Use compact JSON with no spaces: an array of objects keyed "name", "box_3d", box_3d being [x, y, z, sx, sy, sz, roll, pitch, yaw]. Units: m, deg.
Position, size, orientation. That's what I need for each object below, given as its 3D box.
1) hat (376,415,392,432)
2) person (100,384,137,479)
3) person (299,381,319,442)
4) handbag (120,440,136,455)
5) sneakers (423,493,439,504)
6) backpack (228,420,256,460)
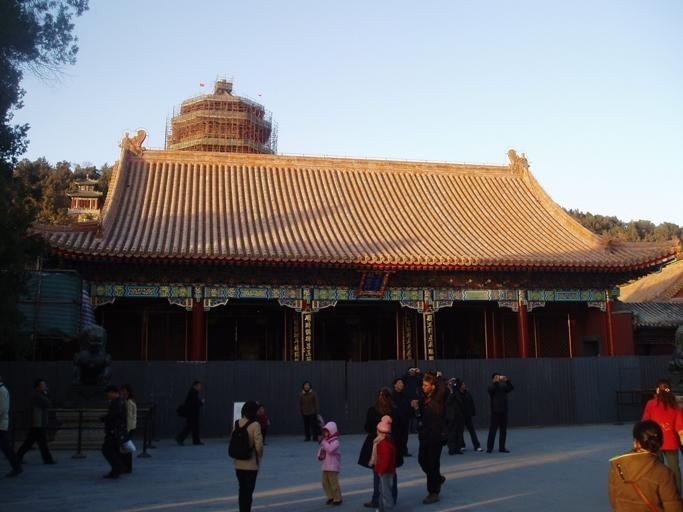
[{"name":"hat","box_3d":[0.798,3.031,15.320,0.222,0.313,0.255,29,-39,-29]},{"name":"person","box_3d":[-4.683,3.663,17.770,0.645,1.889,0.496,5,-11,-28]},{"name":"person","box_3d":[-0.923,4.396,24.029,0.571,1.600,0.792,0,-9,-4]},{"name":"handbag","box_3d":[-4.514,4.044,17.843,0.395,0.396,0.183,-1,0,-14]},{"name":"sneakers","box_3d":[1.657,4.505,15.779,0.332,0.130,0.120,4,2,-16]},{"name":"backpack","box_3d":[-1.771,3.209,14.868,0.464,0.667,0.353,3,-3,12]}]
